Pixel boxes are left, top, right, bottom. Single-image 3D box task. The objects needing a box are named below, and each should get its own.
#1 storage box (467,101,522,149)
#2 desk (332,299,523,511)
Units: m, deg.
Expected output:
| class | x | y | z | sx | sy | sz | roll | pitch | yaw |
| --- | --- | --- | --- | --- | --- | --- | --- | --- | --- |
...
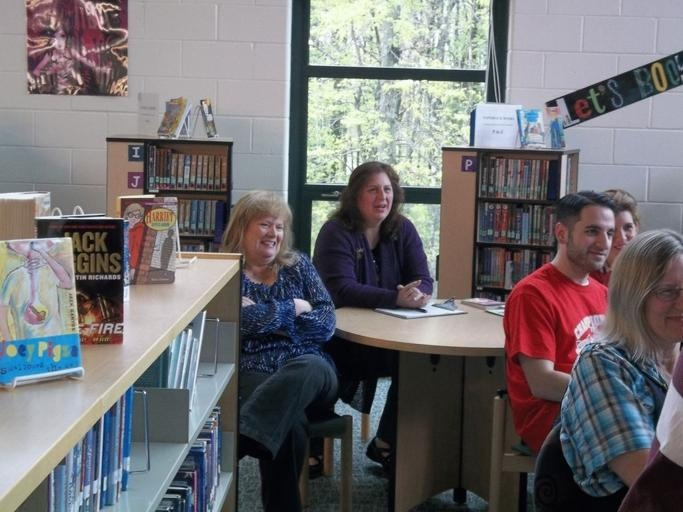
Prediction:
| class | x | y | z | sx | sy | sz | roll | pitch | yaw |
| --- | --- | --- | --- | --- | --- | --- | --- | --- | --- |
| storage box | 0.944 | -0.792 | 4.418 | 0.370 | 0.368 | 0.264 | 1 | 7 | 3 |
| desk | 0.382 | 0.629 | 2.906 | 0.752 | 0.514 | 0.780 | 1 | 6 | 10 |
